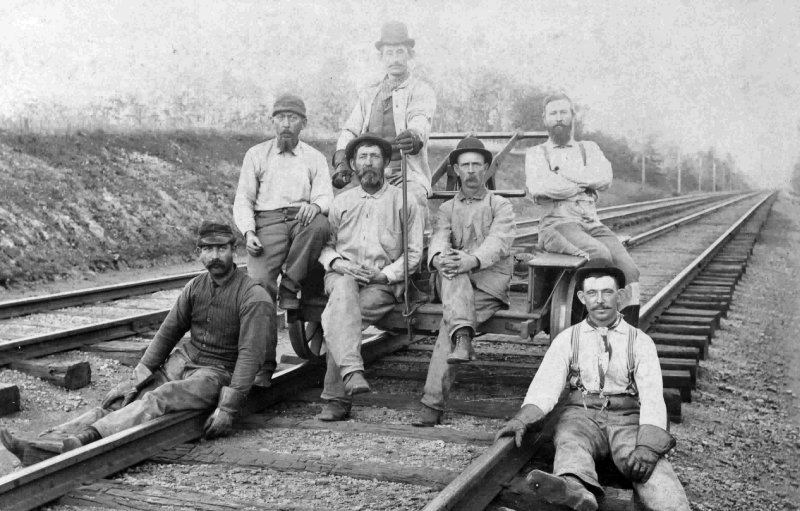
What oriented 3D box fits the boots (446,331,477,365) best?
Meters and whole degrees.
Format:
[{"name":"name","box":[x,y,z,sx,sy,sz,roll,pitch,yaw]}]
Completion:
[{"name":"boots","box":[0.557,0.799,5.160,0.152,0.325,0.321,-6,-4,40]}]

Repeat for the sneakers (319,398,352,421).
[{"name":"sneakers","box":[-0.599,1.436,5.359,0.126,0.153,0.371,-4,-16,19]}]

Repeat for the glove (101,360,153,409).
[{"name":"glove","box":[-2.375,1.144,5.053,0.279,0.198,0.412,19,36,39]}]

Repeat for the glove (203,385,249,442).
[{"name":"glove","box":[-1.509,1.339,4.997,0.160,0.404,0.375,7,9,32]}]

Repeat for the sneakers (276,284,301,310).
[{"name":"sneakers","box":[-1.099,0.416,5.730,0.193,0.232,0.227,0,-8,-4]}]

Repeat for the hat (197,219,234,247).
[{"name":"hat","box":[-1.660,-0.188,5.204,0.307,0.220,0.208,0,8,-15]}]

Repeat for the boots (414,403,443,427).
[{"name":"boots","box":[0.245,1.460,5.266,0.314,0.236,0.128,2,-10,-1]}]

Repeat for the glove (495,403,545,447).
[{"name":"glove","box":[0.922,1.263,4.416,0.362,0.178,0.232,-26,37,-32]}]

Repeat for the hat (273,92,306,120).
[{"name":"hat","box":[-1.158,-1.572,6.036,0.340,0.256,0.256,0,8,-16]}]

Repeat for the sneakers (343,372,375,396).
[{"name":"sneakers","box":[-0.384,1.122,5.107,0.192,0.190,0.257,-1,8,-19]}]

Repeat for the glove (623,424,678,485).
[{"name":"glove","box":[1.790,1.390,4.122,0.287,0.232,0.384,18,53,41]}]
